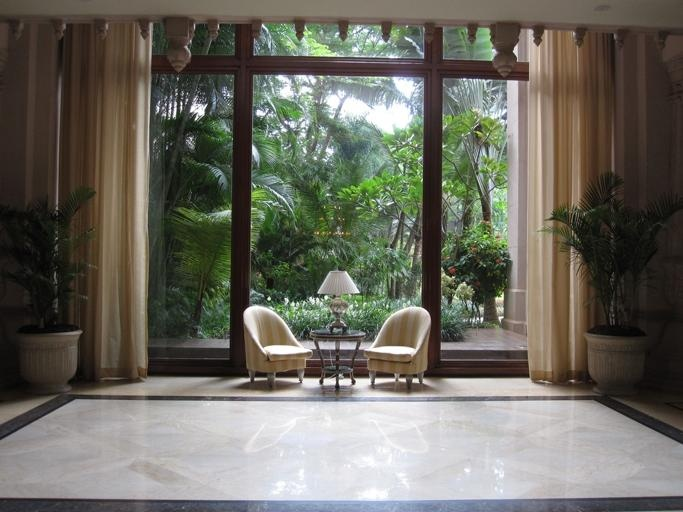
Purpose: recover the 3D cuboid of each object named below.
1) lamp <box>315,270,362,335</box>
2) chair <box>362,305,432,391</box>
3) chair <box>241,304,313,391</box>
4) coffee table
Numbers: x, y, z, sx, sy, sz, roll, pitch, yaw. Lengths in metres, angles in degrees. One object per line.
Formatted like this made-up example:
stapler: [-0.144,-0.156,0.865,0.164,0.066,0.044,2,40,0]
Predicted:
lamp: [-0.150,0.540,6.842,0.626,0.874,0.618,2,-1,-45]
chair: [0.711,1.089,6.878,0.636,0.898,0.763,-1,-5,37]
chair: [-0.818,1.055,6.826,0.625,0.874,0.736,0,-2,-45]
coffee table: [-0.067,1.232,6.848,0.673,0.648,0.639,-1,-3,29]
